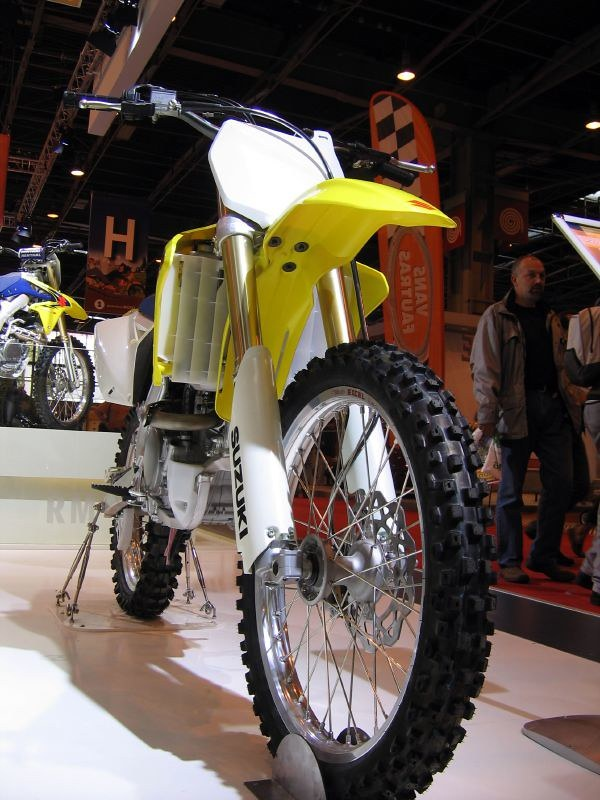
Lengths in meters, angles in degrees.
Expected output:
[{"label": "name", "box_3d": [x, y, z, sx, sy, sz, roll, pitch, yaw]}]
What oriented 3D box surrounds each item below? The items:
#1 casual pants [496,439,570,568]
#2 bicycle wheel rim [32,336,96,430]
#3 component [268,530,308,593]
[{"label": "casual pants", "box_3d": [1.042, 0.457, 2.840, 0.345, 0.564, 0.304, 2, -8, 3]}, {"label": "bicycle wheel rim", "box_3d": [-1.709, -0.116, 4.587, 0.201, 0.693, 0.698, 5, 1, 34]}, {"label": "component", "box_3d": [-0.019, 0.243, 0.965, 0.071, 0.112, 0.064, 1, 2, 11]}]
